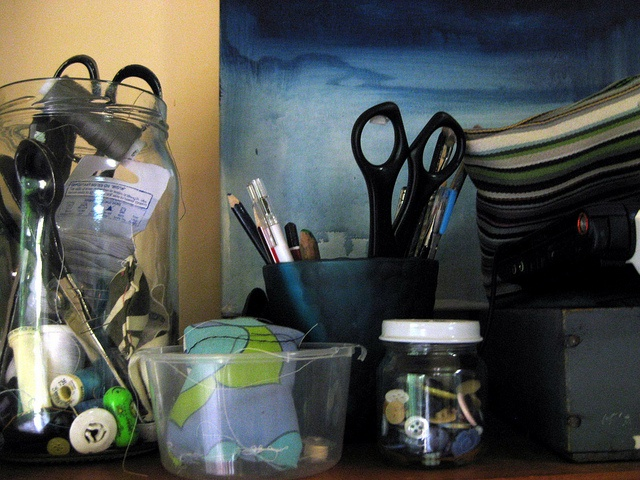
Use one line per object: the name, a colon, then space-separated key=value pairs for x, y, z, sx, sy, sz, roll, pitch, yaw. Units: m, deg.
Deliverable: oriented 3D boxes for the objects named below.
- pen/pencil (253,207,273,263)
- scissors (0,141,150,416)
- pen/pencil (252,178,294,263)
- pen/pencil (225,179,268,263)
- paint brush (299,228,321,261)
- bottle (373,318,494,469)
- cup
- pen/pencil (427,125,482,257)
pen/pencil: x=-0.057 y=-0.008 z=0.646 sx=0.008 sy=0.068 sz=0.008 roll=-16 pitch=-3 yaw=-42
scissors: x=-0.223 y=0.031 z=0.566 sx=0.105 sy=0.236 sz=0.032 roll=0 pitch=-3 yaw=5
pen/pencil: x=-0.053 y=-0.019 z=0.693 sx=0.018 sy=0.105 sz=0.019 roll=-13 pitch=-6 yaw=-35
pen/pencil: x=-0.084 y=-0.019 z=0.725 sx=0.013 sy=0.114 sz=0.014 roll=-34 pitch=20 yaw=-30
paint brush: x=-0.012 y=0.006 z=0.658 sx=0.017 sy=0.034 sz=0.011 roll=-1 pitch=-15 yaw=-40
bottle: x=0.094 y=0.140 z=0.598 sx=0.116 sy=0.135 sz=0.105 roll=2 pitch=-6 yaw=-15
cup: x=0.030 y=0.110 z=0.620 sx=0.169 sy=0.168 sz=0.150 roll=7 pitch=-11 yaw=-39
pen/pencil: x=0.130 y=-0.035 z=0.679 sx=0.025 sy=0.191 sz=0.026 roll=25 pitch=-14 yaw=-30
